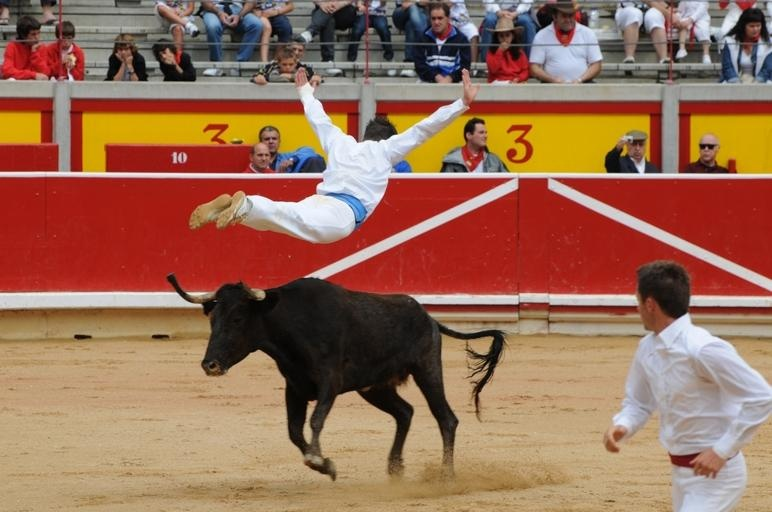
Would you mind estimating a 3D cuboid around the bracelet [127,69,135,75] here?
[{"bbox_3d":[-3.232,-2.330,24.264,0.076,0.073,0.022,6,-31,-34],"label":"bracelet"}]

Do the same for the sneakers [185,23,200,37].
[{"bbox_3d":[-2.522,-2.939,24.733,0.117,0.101,0.275,12,-9,5],"label":"sneakers"}]

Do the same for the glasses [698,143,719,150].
[{"bbox_3d":[3.876,-1.341,23.316,0.206,0.084,0.120,2,13,17],"label":"glasses"}]

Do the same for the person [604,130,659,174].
[{"bbox_3d":[2.922,-1.238,23.247,0.593,0.566,0.755,1,13,12],"label":"person"}]

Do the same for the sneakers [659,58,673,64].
[{"bbox_3d":[3.551,-2.512,24.615,0.161,0.067,0.057,-9,14,9],"label":"sneakers"}]

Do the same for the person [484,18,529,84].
[{"bbox_3d":[1.470,-2.477,24.266,0.545,1.060,0.580,-2,-3,27],"label":"person"}]

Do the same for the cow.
[{"bbox_3d":[-0.522,1.201,19.017,2.923,1.982,0.715,-5,13,-15],"label":"cow"}]

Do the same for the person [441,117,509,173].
[{"bbox_3d":[1.030,-1.344,23.468,0.723,0.632,0.317,0,-2,-27],"label":"person"}]

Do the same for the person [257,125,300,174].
[{"bbox_3d":[-1.418,-1.285,23.175,0.768,0.579,0.359,-3,10,-4],"label":"person"}]

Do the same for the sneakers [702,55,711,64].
[{"bbox_3d":[4.091,-2.556,24.782,0.115,0.125,0.315,-1,2,2],"label":"sneakers"}]

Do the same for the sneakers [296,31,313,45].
[{"bbox_3d":[-1.080,-2.820,24.569,0.218,0.165,0.167,-9,19,-39],"label":"sneakers"}]

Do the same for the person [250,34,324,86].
[{"bbox_3d":[-1.257,-2.337,23.873,0.730,0.519,1.016,-1,0,2],"label":"person"}]

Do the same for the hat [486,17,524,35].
[{"bbox_3d":[1.492,-2.922,24.214,0.390,0.172,0.284,-1,13,4],"label":"hat"}]
